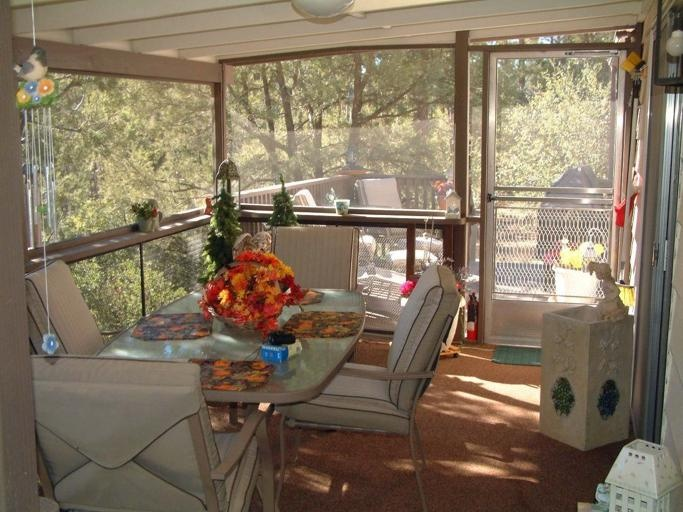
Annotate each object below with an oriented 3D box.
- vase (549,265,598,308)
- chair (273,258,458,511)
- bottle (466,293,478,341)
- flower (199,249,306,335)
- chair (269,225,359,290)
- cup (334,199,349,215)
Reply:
[{"bbox_3d":[2.340,0.302,5.683,0.375,0.348,0.352,2,0,6],"label":"vase"},{"bbox_3d":[0.266,0.668,3.909,1.207,1.762,1.182,2,5,9],"label":"chair"},{"bbox_3d":[1.368,0.647,5.898,0.117,0.496,0.070,3,11,16],"label":"bottle"},{"bbox_3d":[-0.500,0.182,3.229,0.490,0.366,0.501,12,18,34],"label":"flower"},{"bbox_3d":[-0.198,-0.020,4.797,0.509,0.742,0.563,3,3,11],"label":"chair"},{"bbox_3d":[0.011,-0.533,6.150,0.152,0.157,0.210,0,11,1],"label":"cup"}]
